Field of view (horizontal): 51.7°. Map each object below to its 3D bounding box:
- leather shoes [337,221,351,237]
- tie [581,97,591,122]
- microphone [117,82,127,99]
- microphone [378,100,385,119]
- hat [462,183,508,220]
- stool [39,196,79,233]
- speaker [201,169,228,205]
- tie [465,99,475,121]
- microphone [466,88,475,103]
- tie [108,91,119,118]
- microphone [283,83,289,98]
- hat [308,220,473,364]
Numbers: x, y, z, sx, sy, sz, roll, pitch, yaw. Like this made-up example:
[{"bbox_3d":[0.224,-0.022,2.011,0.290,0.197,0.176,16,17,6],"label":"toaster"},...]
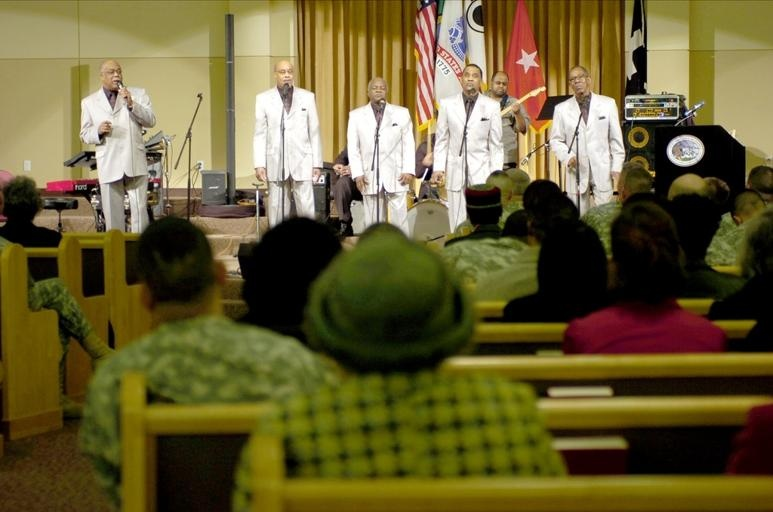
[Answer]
[{"bbox_3d":[-0.422,-0.258,7.840,0.111,0.140,0.137,4,-1,5],"label":"leather shoes"},{"bbox_3d":[1.851,-1.304,7.432,0.070,0.187,0.141,5,-11,14],"label":"tie"},{"bbox_3d":[-2.382,-1.434,7.208,0.088,0.067,0.326,9,30,-27],"label":"microphone"},{"bbox_3d":[-0.035,-1.302,7.450,0.098,0.133,0.051,-2,8,-38],"label":"microphone"},{"bbox_3d":[0.504,-0.272,4.118,0.162,0.151,0.171,5,11,29],"label":"hat"},{"bbox_3d":[-3.660,-0.449,8.962,0.410,0.423,0.397,-2,6,-14],"label":"stool"},{"bbox_3d":[-2.035,-0.771,9.448,0.365,0.439,0.357,1,9,-3],"label":"speaker"},{"bbox_3d":[0.746,-1.250,7.145,0.113,0.145,0.035,0,0,8],"label":"tie"},{"bbox_3d":[0.735,-1.353,7.064,0.080,0.099,0.090,0,52,5],"label":"microphone"},{"bbox_3d":[-2.595,-1.383,7.578,0.133,0.175,0.045,1,4,-5],"label":"tie"},{"bbox_3d":[-0.923,-1.457,7.384,0.068,0.079,0.040,1,23,-7],"label":"microphone"},{"bbox_3d":[-0.001,0.069,2.123,0.286,0.145,0.379,-2,17,1],"label":"hat"}]
